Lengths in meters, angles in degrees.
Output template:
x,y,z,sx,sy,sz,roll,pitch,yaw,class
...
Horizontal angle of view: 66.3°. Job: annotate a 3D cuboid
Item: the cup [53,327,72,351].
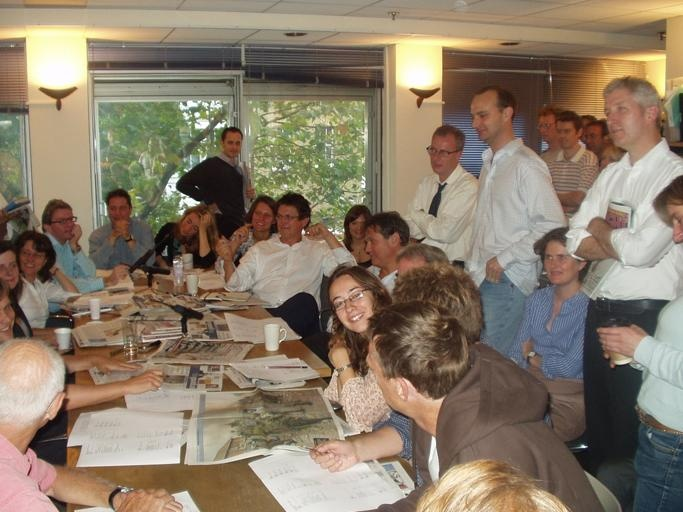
x,y,z,sx,sy,sz,roll,pitch,yaw,class
-1.505,0.465,2.878,0.112,0.109,0.122,-4,-6,0,cup
